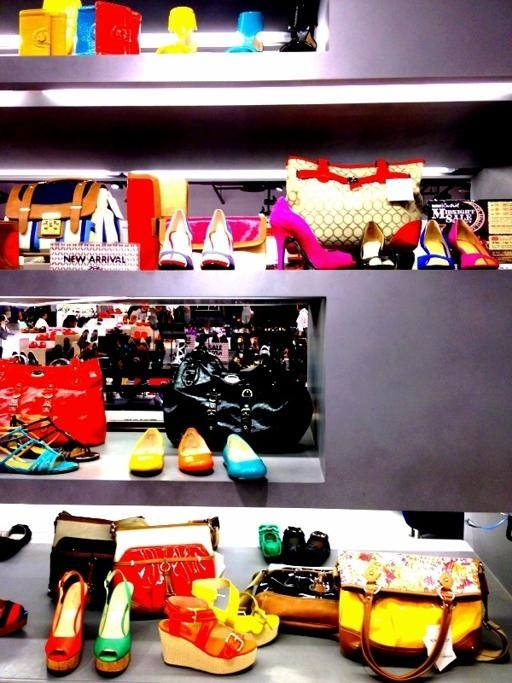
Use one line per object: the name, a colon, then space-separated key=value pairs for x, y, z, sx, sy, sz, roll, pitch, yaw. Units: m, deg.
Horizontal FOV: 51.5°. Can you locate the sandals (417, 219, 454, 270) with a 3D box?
sandals: x=0.478 y=-0.262 z=1.439 sx=0.081 sy=0.069 sz=0.191 roll=-2 pitch=28 yaw=8

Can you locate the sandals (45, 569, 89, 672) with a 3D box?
sandals: x=-0.451 y=0.688 z=1.341 sx=0.071 sy=0.079 sz=0.245 roll=2 pitch=24 yaw=-5

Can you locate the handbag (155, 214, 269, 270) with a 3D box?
handbag: x=-0.143 y=-0.269 z=1.531 sx=0.208 sy=0.089 sz=0.278 roll=-2 pitch=28 yaw=-3

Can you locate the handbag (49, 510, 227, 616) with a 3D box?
handbag: x=-0.346 y=0.574 z=1.436 sx=0.266 sy=0.151 sz=0.355 roll=1 pitch=-8 yaw=-2

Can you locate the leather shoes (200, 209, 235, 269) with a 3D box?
leather shoes: x=-0.092 y=-0.264 z=1.428 sx=0.070 sy=0.081 sz=0.205 roll=0 pitch=29 yaw=2

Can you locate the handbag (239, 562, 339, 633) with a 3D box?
handbag: x=0.099 y=0.680 z=1.441 sx=0.204 sy=0.067 sz=0.203 roll=1 pitch=12 yaw=6

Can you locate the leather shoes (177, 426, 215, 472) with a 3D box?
leather shoes: x=-0.162 y=0.296 z=1.461 sx=0.080 sy=0.078 sz=0.216 roll=-2 pitch=-1 yaw=-7

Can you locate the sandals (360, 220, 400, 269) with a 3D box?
sandals: x=0.331 y=-0.237 z=1.422 sx=0.072 sy=0.070 sz=0.181 roll=-13 pitch=40 yaw=11

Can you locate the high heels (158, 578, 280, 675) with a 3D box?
high heels: x=-0.100 y=0.672 z=1.311 sx=0.205 sy=0.139 sz=0.229 roll=1 pitch=-2 yaw=7

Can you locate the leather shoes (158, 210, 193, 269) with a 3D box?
leather shoes: x=-0.204 y=-0.261 z=1.400 sx=0.068 sy=0.079 sz=0.198 roll=0 pitch=33 yaw=-1
